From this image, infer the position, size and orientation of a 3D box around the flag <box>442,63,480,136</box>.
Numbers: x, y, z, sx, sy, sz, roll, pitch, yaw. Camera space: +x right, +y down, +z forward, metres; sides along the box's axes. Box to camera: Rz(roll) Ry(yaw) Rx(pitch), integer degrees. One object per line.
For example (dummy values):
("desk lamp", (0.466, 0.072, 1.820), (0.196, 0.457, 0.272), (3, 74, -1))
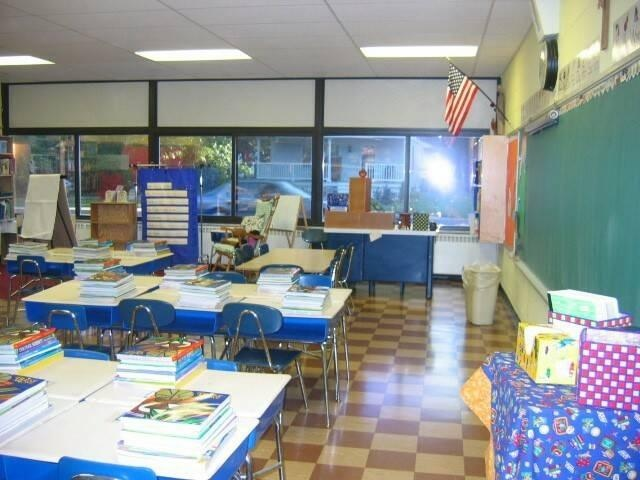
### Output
("flag", (1.867, -1.865, 6.992), (0.369, 0.919, 0.481), (3, 8, 15))

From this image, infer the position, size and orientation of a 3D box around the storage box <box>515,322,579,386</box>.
("storage box", (1.202, 0.586, 2.798), (0.228, 0.319, 0.443), (1, 2, 10))

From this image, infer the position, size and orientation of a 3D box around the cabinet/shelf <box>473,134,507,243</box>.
("cabinet/shelf", (2.780, -0.859, 8.483), (0.369, 1.459, 0.902), (2, 33, 17))

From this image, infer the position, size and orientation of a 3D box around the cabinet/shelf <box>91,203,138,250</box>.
("cabinet/shelf", (-3.368, -0.228, 8.620), (0.708, 0.908, 0.329), (0, 2, 4))

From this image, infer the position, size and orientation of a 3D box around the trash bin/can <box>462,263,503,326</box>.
("trash bin/can", (2.148, 0.733, 7.068), (0.472, 0.797, 0.362), (3, 8, 16))
